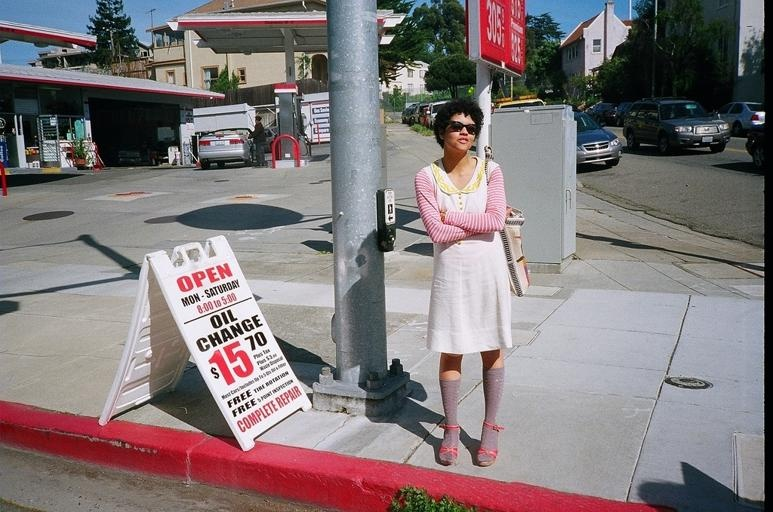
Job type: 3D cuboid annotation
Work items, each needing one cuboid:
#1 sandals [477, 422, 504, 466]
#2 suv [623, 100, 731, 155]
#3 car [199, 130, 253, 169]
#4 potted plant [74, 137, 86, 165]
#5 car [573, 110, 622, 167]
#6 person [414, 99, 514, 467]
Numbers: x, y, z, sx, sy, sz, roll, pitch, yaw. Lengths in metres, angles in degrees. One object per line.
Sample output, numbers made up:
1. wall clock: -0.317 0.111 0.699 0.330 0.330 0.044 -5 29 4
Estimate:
1. sandals: 0.763 1.410 4.160 0.132 0.145 0.374 -2 -4 5
2. suv: 12.662 -5.712 24.930 2.217 2.291 4.104 -6 15 -13
3. car: -7.285 -5.100 27.237 2.386 1.677 4.497 -3 10 0
4. potted plant: -15.806 -5.230 29.193 0.552 1.353 0.723 -10 16 -25
5. car: 7.971 -4.282 21.266 1.548 2.027 1.798 2 15 19
6. person: 0.582 0.177 4.280 0.700 2.625 0.923 0 15 11
